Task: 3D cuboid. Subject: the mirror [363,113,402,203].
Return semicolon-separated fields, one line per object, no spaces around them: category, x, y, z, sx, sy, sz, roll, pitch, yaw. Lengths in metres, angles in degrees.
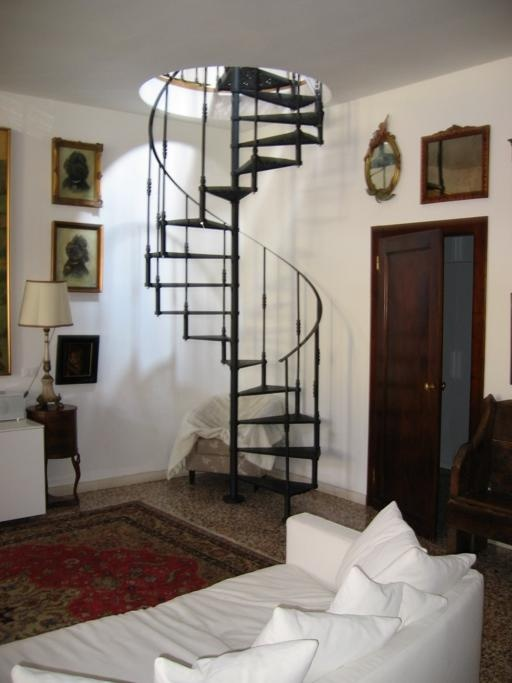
mirror;0.954;-1.377;4.331;0.097;0.627;0.325;-1;1;-28

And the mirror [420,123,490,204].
mirror;1.349;-1.197;3.838;0.037;0.598;0.524;-7;11;-37

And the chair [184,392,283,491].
chair;-0.164;0.859;4.920;0.676;0.665;0.697;-1;-11;19

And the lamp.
lamp;-1.606;0.034;4.358;0.358;0.962;0.512;-1;1;-23

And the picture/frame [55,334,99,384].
picture/frame;-1.507;0.142;4.759;0.364;0.454;0.054;-5;11;-44

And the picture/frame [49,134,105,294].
picture/frame;-1.477;-1.025;4.730;0.403;1.226;0.189;-1;1;-25
